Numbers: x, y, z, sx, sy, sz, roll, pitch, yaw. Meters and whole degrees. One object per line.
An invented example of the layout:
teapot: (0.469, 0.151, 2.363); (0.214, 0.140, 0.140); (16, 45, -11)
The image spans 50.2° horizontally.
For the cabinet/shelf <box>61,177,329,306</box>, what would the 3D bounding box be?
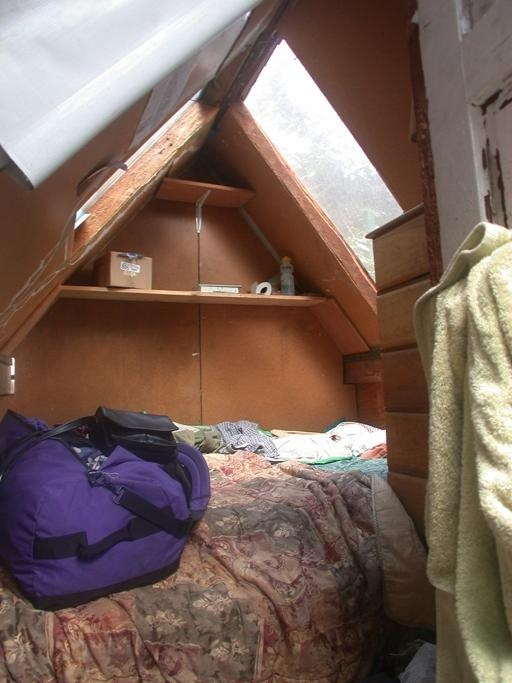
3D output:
cabinet/shelf: (-0.367, -0.603, 3.374); (1.843, 0.660, 0.568); (3, 16, 25)

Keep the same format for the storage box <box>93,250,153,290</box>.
storage box: (-0.698, -0.377, 2.963); (0.241, 0.156, 0.239); (-2, 8, -45)
